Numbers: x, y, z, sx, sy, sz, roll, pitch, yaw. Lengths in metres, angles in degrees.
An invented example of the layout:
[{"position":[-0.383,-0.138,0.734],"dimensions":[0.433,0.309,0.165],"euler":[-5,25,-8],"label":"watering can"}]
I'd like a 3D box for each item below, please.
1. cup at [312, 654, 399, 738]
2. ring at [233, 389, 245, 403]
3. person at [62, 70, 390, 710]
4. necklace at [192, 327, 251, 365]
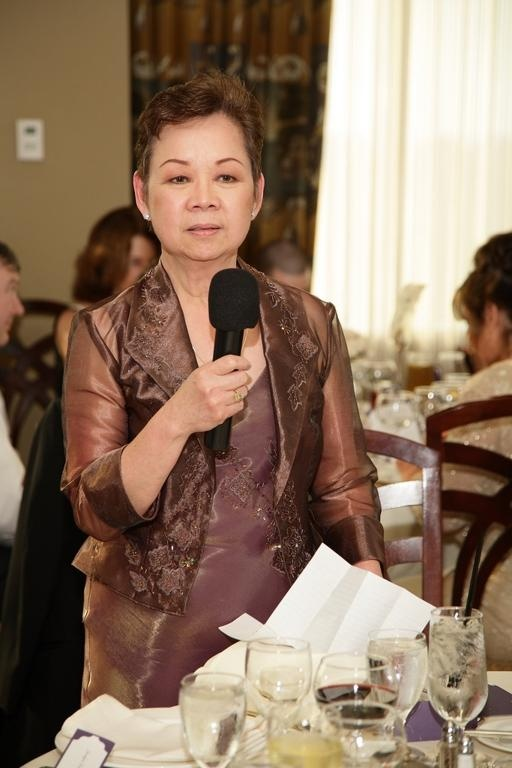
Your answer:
[{"position":[0.083,0.264,0.602],"dimensions":[0.066,0.068,0.066],"euler":[0,-7,0],"label":"cup"},{"position":[-0.022,0.016,0.875],"dimensions":[0.012,0.016,0.006],"euler":[20,-1,-23],"label":"ring"},{"position":[-0.036,-0.002,1.097],"dimensions":[0.407,0.963,0.540],"euler":[3,12,39],"label":"person"},{"position":[-0.045,-0.043,0.868],"dimensions":[0.040,0.065,0.041],"euler":[-1,-10,24],"label":"necklace"}]
